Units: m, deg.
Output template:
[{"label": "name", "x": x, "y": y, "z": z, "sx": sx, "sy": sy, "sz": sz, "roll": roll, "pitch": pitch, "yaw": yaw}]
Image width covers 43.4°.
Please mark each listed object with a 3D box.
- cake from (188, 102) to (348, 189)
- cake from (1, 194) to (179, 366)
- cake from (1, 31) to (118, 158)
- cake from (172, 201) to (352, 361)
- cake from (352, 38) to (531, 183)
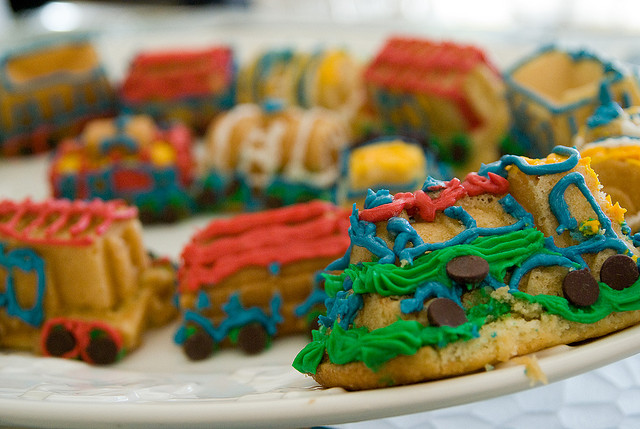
[{"label": "cake", "x": -0.202, "y": -0.274, "z": 3.453, "sx": 0.518, "sy": 0.197, "sz": 0.342, "roll": -5, "pitch": -18, "yaw": -7}, {"label": "cake", "x": -0.869, "y": 0.221, "z": 3.020, "sx": 0.560, "sy": 0.397, "sz": 0.609, "roll": 0, "pitch": 28, "yaw": -4}, {"label": "cake", "x": -1.056, "y": -0.509, "z": 3.441, "sx": 0.464, "sy": 0.340, "sz": 0.482, "roll": -16, "pitch": 38, "yaw": 1}, {"label": "cake", "x": -0.164, "y": 0.221, "z": 3.074, "sx": 0.753, "sy": 0.500, "sz": 0.396, "roll": -6, "pitch": 13, "yaw": -9}, {"label": "cake", "x": 0.542, "y": -0.463, "z": 3.791, "sx": 0.529, "sy": 0.665, "sz": 0.472, "roll": 5, "pitch": 3, "yaw": 5}]
